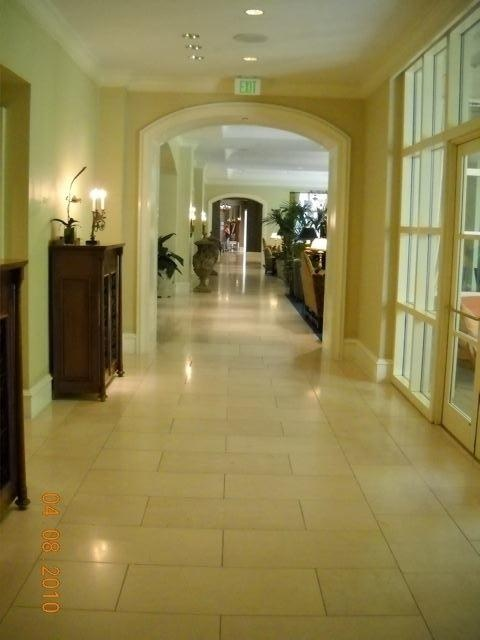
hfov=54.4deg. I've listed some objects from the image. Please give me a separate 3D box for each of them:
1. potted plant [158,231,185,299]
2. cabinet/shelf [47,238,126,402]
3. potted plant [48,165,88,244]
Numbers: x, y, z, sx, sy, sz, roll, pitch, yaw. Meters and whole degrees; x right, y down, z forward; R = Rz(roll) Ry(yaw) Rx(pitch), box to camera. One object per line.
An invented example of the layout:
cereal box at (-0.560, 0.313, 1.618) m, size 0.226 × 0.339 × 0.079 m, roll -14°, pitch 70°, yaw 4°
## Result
potted plant at (-1.643, -1.360, 11.040) m, size 0.597 × 1.455 × 1.294 m, roll 0°, pitch 9°, yaw -7°
cabinet/shelf at (-1.304, -0.003, 3.877) m, size 0.424 × 1.295 × 1.249 m, roll 0°, pitch 4°, yaw -2°
potted plant at (-1.493, -1.047, 4.091) m, size 0.228 × 0.708 × 0.785 m, roll -1°, pitch 9°, yaw -15°
